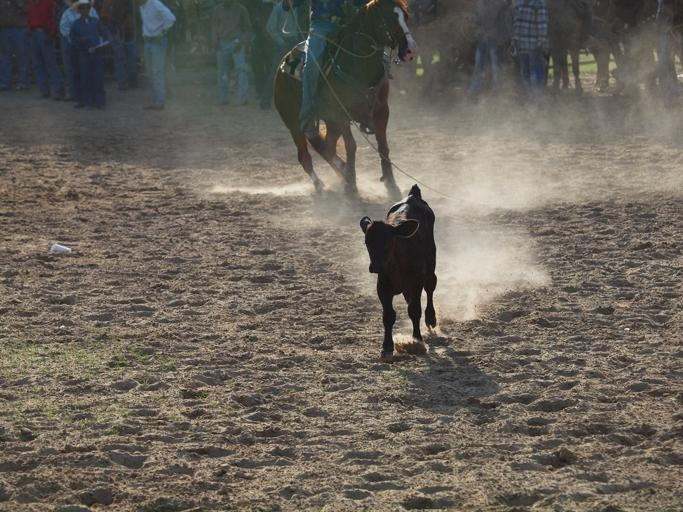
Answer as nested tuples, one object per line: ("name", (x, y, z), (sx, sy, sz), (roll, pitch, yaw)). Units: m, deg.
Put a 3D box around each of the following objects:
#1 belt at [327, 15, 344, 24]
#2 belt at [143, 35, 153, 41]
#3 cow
("belt", (-0.082, -3.218, 17.120), (0.210, 0.068, 0.072), (-3, -1, 45))
("belt", (-3.572, -3.996, 23.075), (0.118, 0.089, 0.312), (-7, 10, -31))
("cow", (0.652, 0.215, 13.340), (0.580, 1.646, 1.059), (0, 9, 16))
